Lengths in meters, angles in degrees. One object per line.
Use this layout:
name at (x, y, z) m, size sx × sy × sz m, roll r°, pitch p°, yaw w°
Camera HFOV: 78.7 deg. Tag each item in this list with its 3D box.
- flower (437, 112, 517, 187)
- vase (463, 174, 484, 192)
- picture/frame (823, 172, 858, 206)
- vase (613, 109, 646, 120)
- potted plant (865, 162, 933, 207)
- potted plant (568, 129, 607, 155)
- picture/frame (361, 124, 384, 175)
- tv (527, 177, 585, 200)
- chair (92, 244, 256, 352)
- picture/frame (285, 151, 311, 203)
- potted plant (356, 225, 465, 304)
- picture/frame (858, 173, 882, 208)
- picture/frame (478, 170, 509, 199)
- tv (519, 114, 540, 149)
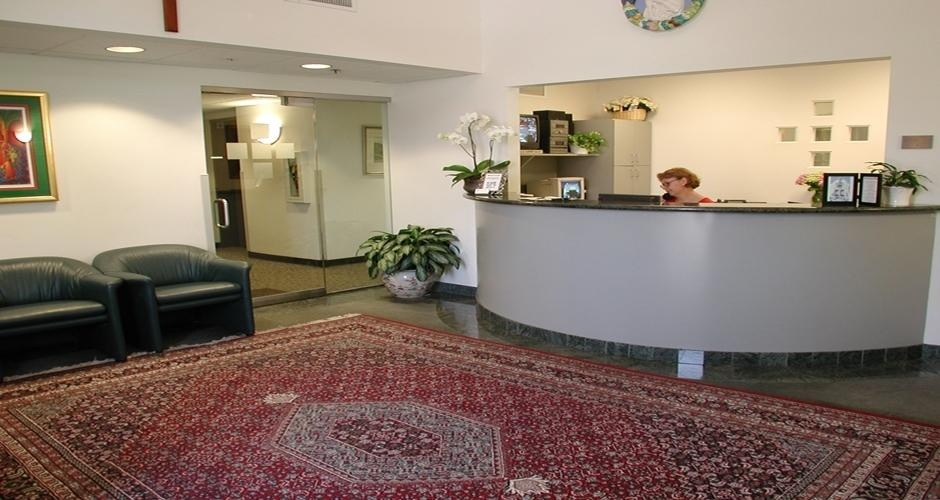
flower at (0.087, -1.429, 8.706) m, size 1.232 × 1.057 × 0.958 m, roll 4°, pitch 12°, yaw 10°
vase at (0.012, -0.953, 8.311) m, size 0.302 × 0.171 × 0.253 m, roll 0°, pitch 2°, yaw 1°
picture/frame at (4.191, -0.678, 6.486) m, size 0.431 × 0.365 × 0.032 m, roll 6°, pitch 6°, yaw 27°
vase at (2.975, -2.531, 10.770) m, size 0.614 × 0.205 × 0.179 m, roll 0°, pitch 12°, yaw 5°
potted plant at (4.956, -0.765, 6.753) m, size 0.672 × 0.357 × 0.581 m, roll 1°, pitch 1°, yaw -7°
potted plant at (2.060, -1.892, 10.173) m, size 0.577 × 0.199 × 0.500 m, roll 1°, pitch 4°, yaw 8°
picture/frame at (-1.643, -1.649, 9.588) m, size 0.413 × 0.806 × 0.139 m, roll -13°, pitch 17°, yaw -43°
tv at (1.398, -1.010, 9.460) m, size 0.640 × 0.439 × 0.846 m, roll -5°, pitch 6°, yaw -39°
chair at (-3.966, 0.549, 7.537) m, size 1.378 × 1.026 × 1.600 m, roll 10°, pitch 14°, yaw 38°
picture/frame at (-2.754, -1.110, 8.915) m, size 0.393 × 0.716 × 0.103 m, roll 2°, pitch 9°, yaw 34°
potted plant at (-0.957, 0.185, 9.282) m, size 1.639 × 0.869 × 1.433 m, roll 5°, pitch 14°, yaw 13°
picture/frame at (4.490, -0.671, 6.432) m, size 0.235 × 0.362 × 0.235 m, roll 6°, pitch 14°, yaw 28°
picture/frame at (0.256, -0.926, 8.032) m, size 0.399 × 0.322 × 0.340 m, roll -2°, pitch 11°, yaw -4°
tv at (0.966, -1.963, 9.617) m, size 0.134 × 0.563 × 0.525 m, roll 11°, pitch 17°, yaw 44°
